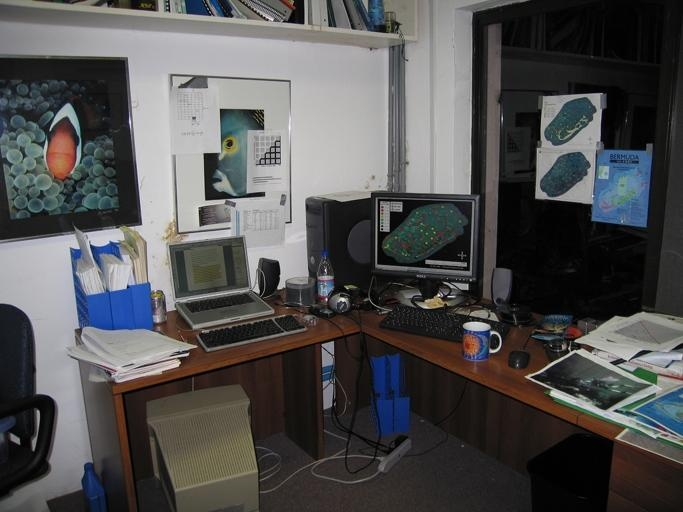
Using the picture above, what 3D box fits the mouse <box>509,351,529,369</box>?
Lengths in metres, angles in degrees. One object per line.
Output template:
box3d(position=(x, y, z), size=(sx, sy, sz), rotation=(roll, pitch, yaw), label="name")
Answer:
box3d(position=(0.739, 0.429, 2.220), size=(0.093, 0.058, 0.077), rotation=(-2, 13, 9), label="mouse")

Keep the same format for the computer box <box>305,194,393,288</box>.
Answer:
box3d(position=(0.014, -0.097, 3.126), size=(0.391, 0.550, 0.269), rotation=(-19, 29, -39), label="computer box")

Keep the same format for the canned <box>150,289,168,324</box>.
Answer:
box3d(position=(-0.914, 0.255, 2.708), size=(0.061, 0.158, 0.148), rotation=(-7, 13, -15), label="canned")

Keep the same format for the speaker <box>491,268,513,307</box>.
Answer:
box3d(position=(0.814, 0.155, 2.713), size=(0.102, 0.185, 0.092), rotation=(2, 14, 27), label="speaker")

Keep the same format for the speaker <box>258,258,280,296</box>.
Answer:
box3d(position=(-0.403, 0.131, 3.059), size=(0.120, 0.225, 0.156), rotation=(3, 8, -6), label="speaker")

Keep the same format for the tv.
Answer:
box3d(position=(0.449, -0.048, 2.835), size=(0.539, 0.574, 0.186), rotation=(3, 6, 20), label="tv")

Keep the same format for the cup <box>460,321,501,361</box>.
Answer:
box3d(position=(0.619, 0.351, 2.310), size=(0.203, 0.158, 0.153), rotation=(-4, 13, -1), label="cup")

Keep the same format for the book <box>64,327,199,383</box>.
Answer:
box3d(position=(-0.922, 0.401, 2.382), size=(0.520, 0.163, 0.372), rotation=(2, 14, 26), label="book")

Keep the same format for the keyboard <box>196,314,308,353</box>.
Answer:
box3d(position=(-0.417, 0.366, 2.556), size=(0.501, 0.053, 0.171), rotation=(-10, 14, -23), label="keyboard")

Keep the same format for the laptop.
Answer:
box3d(position=(-0.610, 0.119, 2.754), size=(0.435, 0.330, 0.380), rotation=(-7, 19, -34), label="laptop")
